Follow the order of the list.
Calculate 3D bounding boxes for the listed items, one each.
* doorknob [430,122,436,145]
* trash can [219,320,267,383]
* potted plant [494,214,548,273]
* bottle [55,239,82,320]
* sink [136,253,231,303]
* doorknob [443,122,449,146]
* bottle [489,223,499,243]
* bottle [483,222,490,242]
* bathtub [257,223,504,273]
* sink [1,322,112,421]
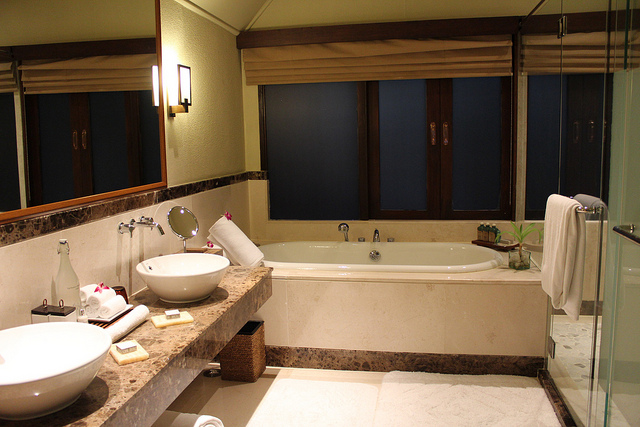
[{"bbox_3d":[1.150,-0.812,4.654,0.047,0.213,0.025,1,11,10],"label":"doorknob"},{"bbox_3d":[-0.622,1.162,3.743,0.260,0.317,0.335,-7,-8,3],"label":"trash can"},{"bbox_3d":[1.663,0.288,3.769,0.324,0.368,0.193,-3,-8,44],"label":"potted plant"},{"bbox_3d":[-1.370,0.362,2.482,0.122,0.435,0.264,-8,13,-31],"label":"bottle"},{"bbox_3d":[-0.845,0.415,2.899,0.559,0.210,0.577,0,8,-9],"label":"sink"},{"bbox_3d":[1.274,-0.807,4.642,0.057,0.219,0.024,-1,11,1],"label":"doorknob"},{"bbox_3d":[1.655,0.202,4.391,0.069,0.146,0.092,3,12,20],"label":"bottle"},{"bbox_3d":[1.605,0.193,4.436,0.056,0.152,0.142,3,12,20],"label":"bottle"},{"bbox_3d":[0.482,0.369,4.253,2.226,0.378,1.139,0,11,6],"label":"bathtub"},{"bbox_3d":[-1.186,0.667,2.008,0.394,0.163,0.402,4,7,-5],"label":"sink"}]
